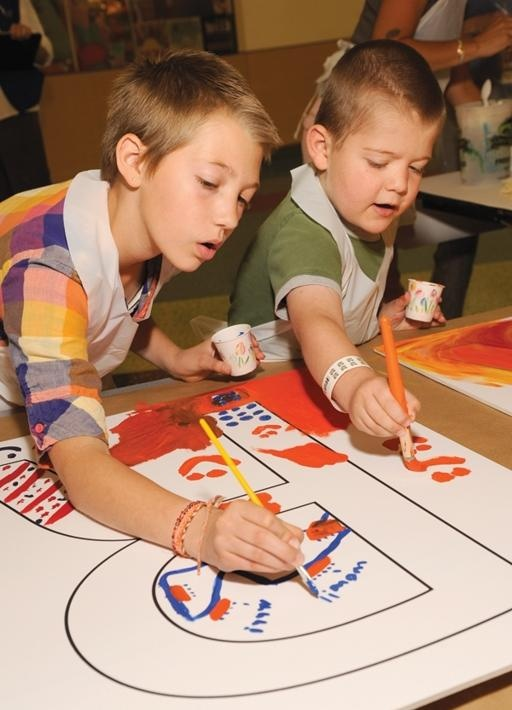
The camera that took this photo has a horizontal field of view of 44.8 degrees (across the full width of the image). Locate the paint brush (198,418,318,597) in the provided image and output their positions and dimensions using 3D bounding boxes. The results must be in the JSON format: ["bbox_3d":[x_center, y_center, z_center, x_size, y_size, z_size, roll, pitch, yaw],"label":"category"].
[{"bbox_3d":[0.002,0.160,0.641,0.019,0.008,0.173,-18,64,-50],"label":"paint brush"}]

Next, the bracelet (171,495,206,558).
[{"bbox_3d":[-0.071,0.167,0.606,0.043,0.035,0.013,-48,25,-18],"label":"bracelet"}]

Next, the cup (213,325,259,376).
[{"bbox_3d":[-0.033,-0.007,1.021,0.068,0.065,0.066,-12,20,4],"label":"cup"}]

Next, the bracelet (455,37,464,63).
[{"bbox_3d":[0.765,-1.134,2.314,0.019,0.066,0.071,7,-6,16],"label":"bracelet"}]

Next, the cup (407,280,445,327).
[{"bbox_3d":[0.316,-0.102,1.178,0.078,0.069,0.074,10,2,0],"label":"cup"}]
